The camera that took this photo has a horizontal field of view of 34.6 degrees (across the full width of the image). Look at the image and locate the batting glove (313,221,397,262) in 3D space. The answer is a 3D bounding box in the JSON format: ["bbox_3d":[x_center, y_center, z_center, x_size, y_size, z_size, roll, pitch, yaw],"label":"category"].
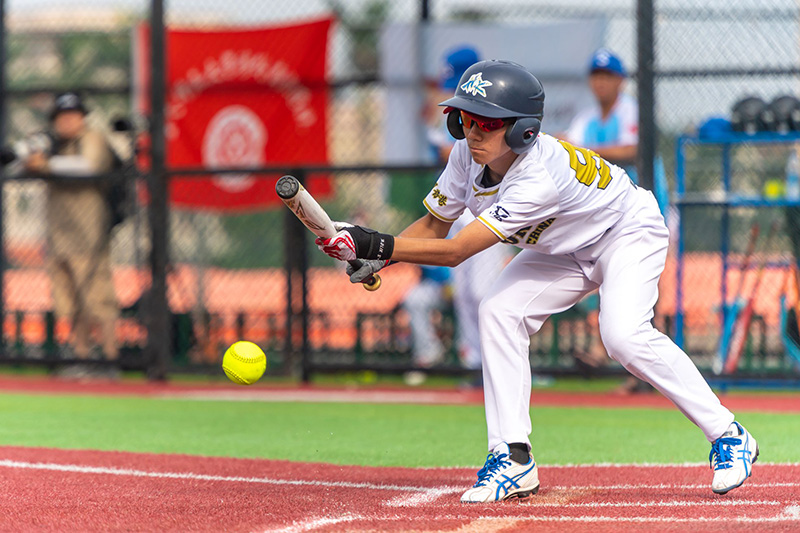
[{"bbox_3d":[-0.266,-0.122,7.524,0.452,0.233,0.218,-2,9,-8],"label":"batting glove"}]

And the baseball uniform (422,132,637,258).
[{"bbox_3d":[0.818,-0.445,7.762,1.057,0.403,0.646,-3,23,-25],"label":"baseball uniform"}]

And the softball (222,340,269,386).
[{"bbox_3d":[-0.992,0.619,8.225,0.266,0.265,0.262,3,-2,-4],"label":"softball"}]
